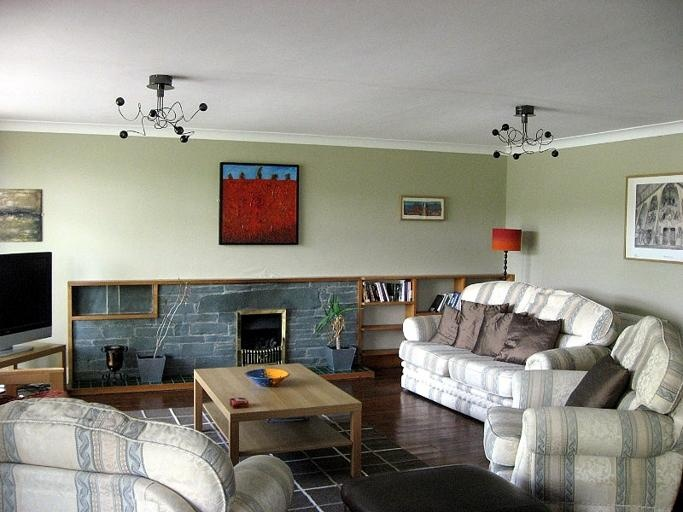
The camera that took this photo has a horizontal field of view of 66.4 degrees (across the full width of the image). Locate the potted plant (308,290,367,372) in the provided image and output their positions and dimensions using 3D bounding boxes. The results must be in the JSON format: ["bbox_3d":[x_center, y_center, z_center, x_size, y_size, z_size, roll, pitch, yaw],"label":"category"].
[{"bbox_3d":[-0.053,0.907,6.326,0.569,0.957,0.305,-2,2,-8],"label":"potted plant"}]

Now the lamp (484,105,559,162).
[{"bbox_3d":[2.105,-1.372,6.099,0.807,0.513,0.774,-2,10,-15],"label":"lamp"}]

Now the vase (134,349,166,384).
[{"bbox_3d":[-2.082,1.189,5.691,0.419,0.343,0.308,1,3,-24],"label":"vase"}]

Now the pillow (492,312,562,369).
[{"bbox_3d":[1.718,0.779,4.813,0.153,0.451,0.487,33,-15,-33],"label":"pillow"}]

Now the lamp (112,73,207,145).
[{"bbox_3d":[-1.697,-1.388,4.962,0.841,0.508,0.767,10,13,41],"label":"lamp"}]

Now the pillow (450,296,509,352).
[{"bbox_3d":[1.433,0.749,5.471,0.155,0.462,0.503,22,-10,-30],"label":"pillow"}]

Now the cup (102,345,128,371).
[{"bbox_3d":[-2.411,1.106,5.544,0.244,0.299,0.295,-2,2,-24],"label":"cup"}]

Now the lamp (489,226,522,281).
[{"bbox_3d":[2.181,-0.017,6.843,0.368,0.711,0.711,-1,2,18],"label":"lamp"}]
